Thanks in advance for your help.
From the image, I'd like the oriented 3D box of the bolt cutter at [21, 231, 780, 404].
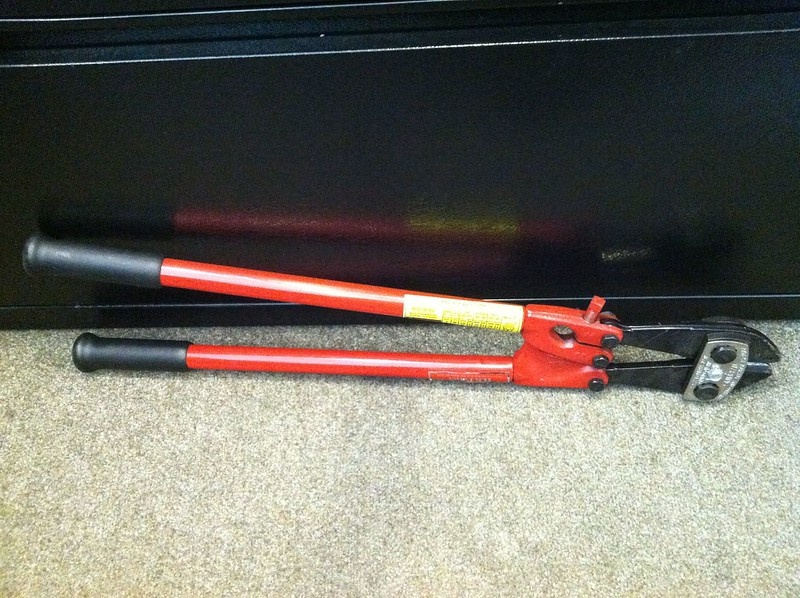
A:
[{"bbox_3d":[0.368,0.069,1.796,2.129,0.210,0.379,1,91,1],"label":"bolt cutter"}]
